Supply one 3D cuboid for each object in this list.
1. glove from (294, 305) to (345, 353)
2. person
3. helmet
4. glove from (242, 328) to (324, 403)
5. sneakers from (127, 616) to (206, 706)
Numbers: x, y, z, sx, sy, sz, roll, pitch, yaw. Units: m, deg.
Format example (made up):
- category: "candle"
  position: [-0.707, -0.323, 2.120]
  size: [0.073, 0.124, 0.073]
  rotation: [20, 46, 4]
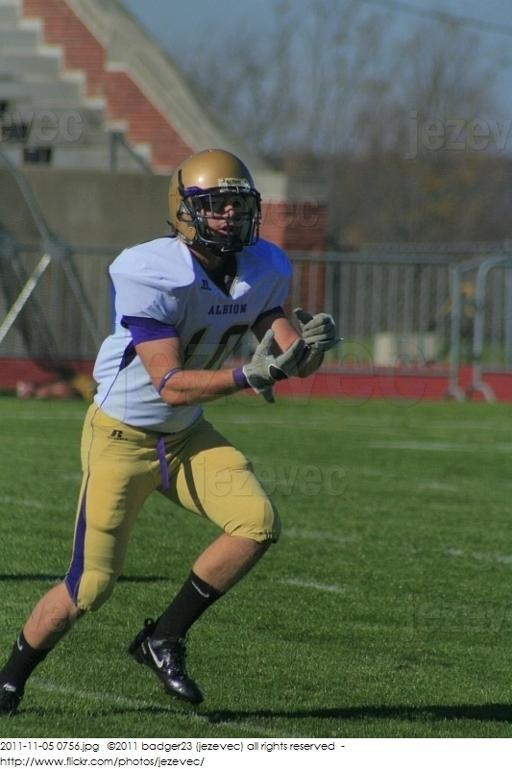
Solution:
- category: "glove"
  position: [0.165, -0.148, 3.130]
  size: [0.125, 0.091, 0.136]
  rotation: [38, -6, 11]
- category: "person"
  position: [-0.216, 0.097, 3.123]
  size: [0.847, 1.380, 0.648]
  rotation: [-1, 11, 3]
- category: "helmet"
  position: [-0.101, -0.462, 3.059]
  size: [0.252, 0.215, 0.287]
  rotation: [-3, 12, -20]
- category: "glove"
  position: [0.051, -0.041, 2.845]
  size: [0.145, 0.171, 0.190]
  rotation: [2, 11, 19]
- category: "sneakers"
  position: [-0.217, 0.712, 3.154]
  size: [0.302, 0.130, 0.101]
  rotation: [36, 4, 35]
